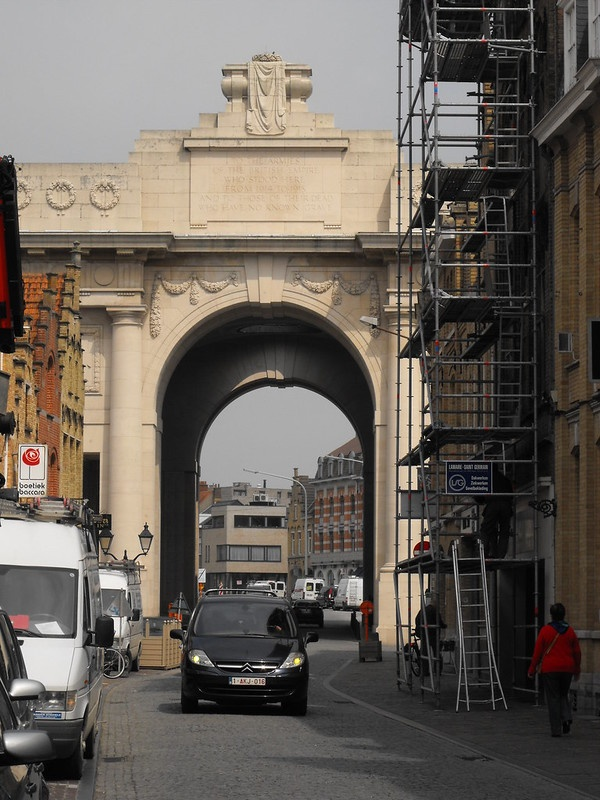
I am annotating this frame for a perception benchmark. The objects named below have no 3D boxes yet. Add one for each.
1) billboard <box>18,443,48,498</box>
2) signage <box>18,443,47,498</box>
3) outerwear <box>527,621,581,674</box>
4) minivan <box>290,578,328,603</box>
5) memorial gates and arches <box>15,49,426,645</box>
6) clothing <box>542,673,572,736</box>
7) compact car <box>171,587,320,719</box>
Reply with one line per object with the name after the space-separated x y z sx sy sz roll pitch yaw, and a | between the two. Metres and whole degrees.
-4.994 1.342 30.060 0.578 1.222 0.097 2 -35 -11 | billboard
-4.993 1.361 30.065 0.580 1.238 0.097 3 -36 -12 | signage
2.778 2.724 17.385 0.511 0.666 0.320 1 -25 5 | outerwear
0.644 12.624 100.599 2.044 2.551 4.007 1 -3 -6 | minivan
-1.133 -0.357 49.018 13.768 22.114 7.168 -1 -19 3 | memorial gates and arches
2.760 3.263 17.100 0.277 0.665 0.462 -3 -10 9 | clothing
-0.658 2.993 19.138 0.997 0.966 1.858 1 -20 -3 | compact car
